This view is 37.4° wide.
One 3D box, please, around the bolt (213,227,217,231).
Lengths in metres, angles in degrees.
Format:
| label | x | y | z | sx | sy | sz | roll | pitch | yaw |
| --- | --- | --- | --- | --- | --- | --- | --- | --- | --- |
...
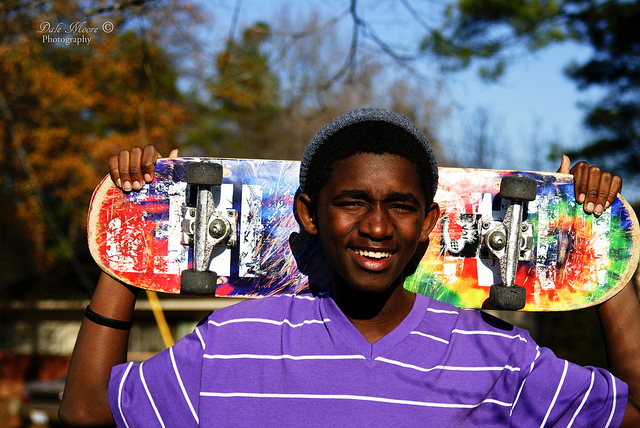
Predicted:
| label | x | y | z | sx | sy | sz | roll | pitch | yaw |
| --- | --- | --- | --- | --- | --- | --- | --- | --- | --- |
| bolt | -0.971 | 0.130 | 8.724 | 0.035 | 0.023 | 0.007 | 5 | 2 | -16 |

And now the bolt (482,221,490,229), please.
| label | x | y | z | sx | sy | sz | roll | pitch | yaw |
| --- | --- | --- | --- | --- | --- | --- | --- | --- | --- |
| bolt | 1.549 | 0.090 | 8.851 | 0.064 | 0.057 | 0.014 | 5 | 2 | -4 |

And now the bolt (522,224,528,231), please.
| label | x | y | z | sx | sy | sz | roll | pitch | yaw |
| --- | --- | --- | --- | --- | --- | --- | --- | --- | --- |
| bolt | 1.889 | 0.113 | 8.766 | 0.062 | 0.065 | 0.015 | 1 | -1 | -4 |

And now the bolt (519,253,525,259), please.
| label | x | y | z | sx | sy | sz | roll | pitch | yaw |
| --- | --- | --- | --- | --- | --- | --- | --- | --- | --- |
| bolt | 1.870 | 0.374 | 8.778 | 0.048 | 0.042 | 0.017 | 7 | 3 | 36 |

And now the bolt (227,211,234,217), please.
| label | x | y | z | sx | sy | sz | roll | pitch | yaw |
| --- | --- | --- | --- | --- | --- | --- | --- | --- | --- |
| bolt | -0.840 | -0.014 | 8.868 | 0.048 | 0.051 | 0.011 | 1 | -4 | 0 |

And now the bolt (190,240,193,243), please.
| label | x | y | z | sx | sy | sz | roll | pitch | yaw |
| --- | --- | --- | --- | --- | --- | --- | --- | --- | --- |
| bolt | -1.208 | 0.245 | 8.860 | 0.025 | 0.017 | 0.008 | 6 | 2 | 6 |

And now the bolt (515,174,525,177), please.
| label | x | y | z | sx | sy | sz | roll | pitch | yaw |
| --- | --- | --- | --- | --- | --- | --- | --- | --- | --- |
| bolt | 1.920 | -0.383 | 9.040 | 0.033 | 0.019 | 0.126 | -4 | 15 | -3 |
